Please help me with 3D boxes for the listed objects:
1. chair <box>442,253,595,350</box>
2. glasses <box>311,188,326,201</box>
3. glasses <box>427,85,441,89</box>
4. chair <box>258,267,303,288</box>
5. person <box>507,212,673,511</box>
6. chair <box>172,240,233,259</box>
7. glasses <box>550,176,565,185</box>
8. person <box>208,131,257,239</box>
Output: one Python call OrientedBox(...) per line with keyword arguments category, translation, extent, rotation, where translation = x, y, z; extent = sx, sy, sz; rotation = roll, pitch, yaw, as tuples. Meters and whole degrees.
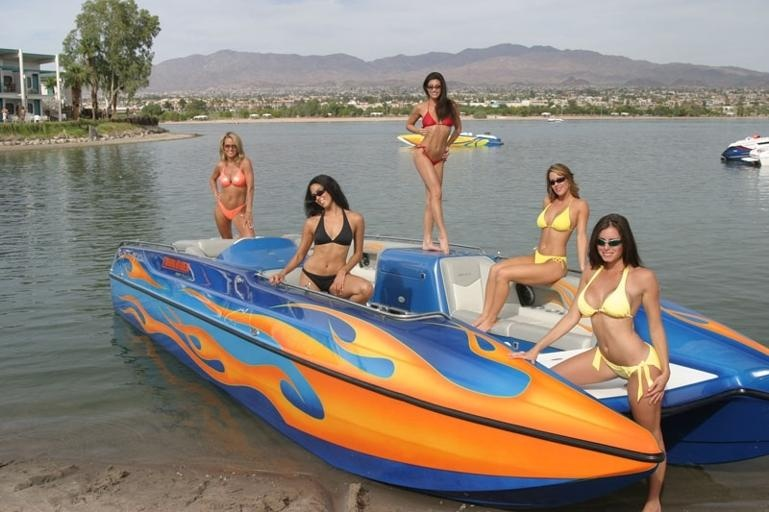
OrientedBox(category="chair", translation=(1.479, 0.563, 6.117), extent=(1.604, 0.845, 1.117), rotation=(11, 15, 23))
OrientedBox(category="glasses", translation=(-0.698, -0.657, 5.632), extent=(0.112, 0.035, 0.109), rotation=(-16, 18, 28))
OrientedBox(category="glasses", translation=(0.630, -2.139, 6.727), extent=(0.161, 0.070, 0.083), rotation=(-3, 10, 4))
OrientedBox(category="chair", translation=(-1.259, 0.261, 6.652), extent=(0.438, 0.134, 0.305), rotation=(1, 5, 1))
OrientedBox(category="person", translation=(1.905, 0.916, 4.432), extent=(0.500, 2.509, 1.021), rotation=(-15, 16, -40))
OrientedBox(category="chair", translation=(-2.681, -0.159, 7.866), extent=(0.488, 0.240, 0.515), rotation=(17, 18, 40))
OrientedBox(category="glasses", translation=(1.867, -0.817, 5.783), extent=(0.157, 0.080, 0.069), rotation=(0, 12, 18))
OrientedBox(category="person", translation=(-2.470, -1.146, 8.716), extent=(0.951, 1.739, 0.627), rotation=(6, 16, 42))
